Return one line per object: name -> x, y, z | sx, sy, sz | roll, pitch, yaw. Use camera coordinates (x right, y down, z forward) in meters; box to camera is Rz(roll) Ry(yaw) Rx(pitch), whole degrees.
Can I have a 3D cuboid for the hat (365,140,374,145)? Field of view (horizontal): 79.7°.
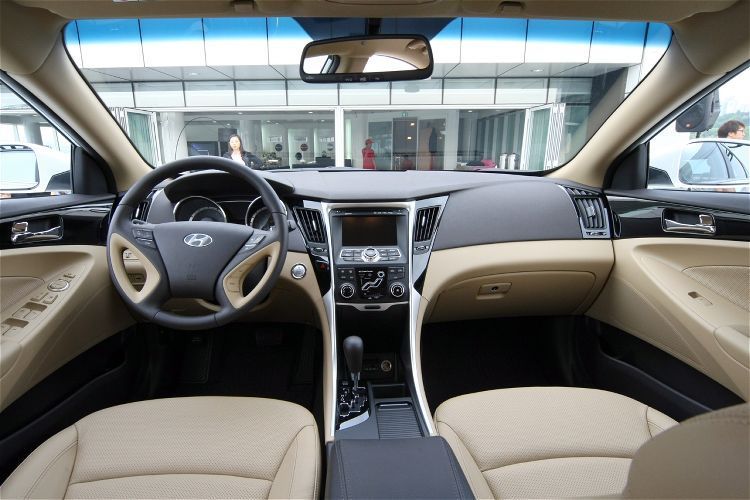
hat -> -0.038, -0.810, 3.358 | 0.092, 0.028, 0.097 | 0, 9, 4
